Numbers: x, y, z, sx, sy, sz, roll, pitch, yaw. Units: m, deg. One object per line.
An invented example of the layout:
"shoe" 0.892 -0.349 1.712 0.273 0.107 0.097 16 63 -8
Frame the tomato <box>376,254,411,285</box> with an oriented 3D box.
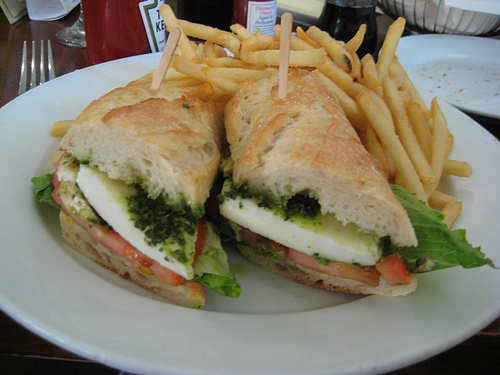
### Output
"tomato" 0.766 0.439 2.280 0.175 0.102 0.138 25 50 19
